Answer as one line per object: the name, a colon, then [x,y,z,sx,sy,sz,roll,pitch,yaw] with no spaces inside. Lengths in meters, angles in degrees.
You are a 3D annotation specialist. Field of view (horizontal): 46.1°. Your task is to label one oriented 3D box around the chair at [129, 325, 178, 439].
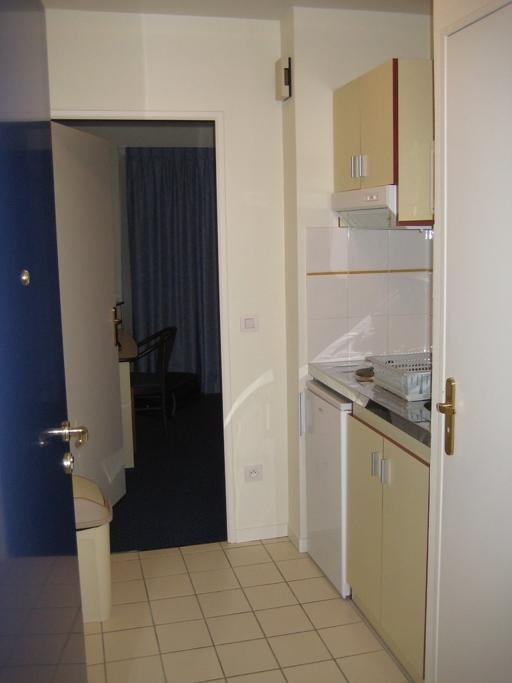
chair: [-0.471,0.150,3.047,0.299,0.586,0.372,1,19,-1]
